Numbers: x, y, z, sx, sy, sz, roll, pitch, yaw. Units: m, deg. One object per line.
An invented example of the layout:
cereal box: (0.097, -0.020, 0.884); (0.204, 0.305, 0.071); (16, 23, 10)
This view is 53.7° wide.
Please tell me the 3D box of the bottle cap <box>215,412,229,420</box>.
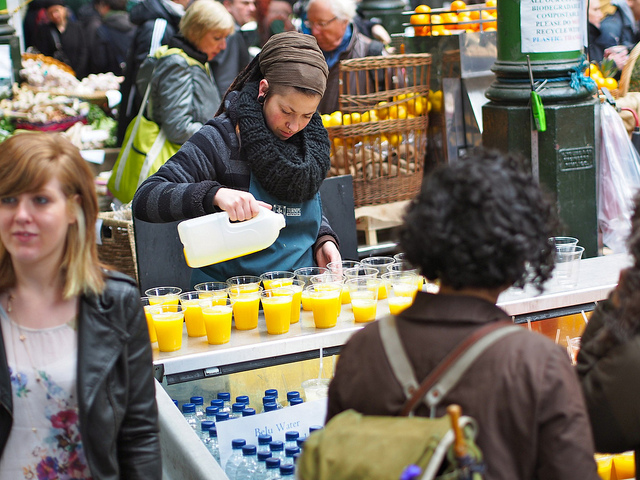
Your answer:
bottle cap: (-0.368, 0.662, 2.388); (0.028, 0.021, 0.029); (0, 5, -14)

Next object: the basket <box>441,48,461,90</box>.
basket: (0.978, -1.338, 4.774); (0.153, 0.254, 0.175); (0, 6, 13)

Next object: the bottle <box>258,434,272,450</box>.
bottle: (-0.194, 0.711, 2.223); (0.044, 0.052, 0.045); (-1, 3, -19)

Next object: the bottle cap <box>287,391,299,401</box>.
bottle cap: (-0.110, 0.621, 2.519); (0.037, 0.036, 0.030); (-2, 2, 6)

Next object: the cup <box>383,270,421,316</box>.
cup: (0.369, 0.228, 2.938); (0.200, 0.243, 0.227); (0, 0, 0)

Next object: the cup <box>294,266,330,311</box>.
cup: (-0.053, 0.222, 3.077); (0.174, 0.191, 0.183); (-1, 7, 0)

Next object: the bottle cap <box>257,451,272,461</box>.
bottle cap: (-0.188, 0.734, 2.145); (0.052, 0.033, 0.024); (-3, 9, 6)

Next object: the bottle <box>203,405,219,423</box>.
bottle: (-0.422, 0.666, 2.460); (0.059, 0.065, 0.062); (1, 1, -7)

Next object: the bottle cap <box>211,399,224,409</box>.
bottle cap: (-0.399, 0.640, 2.472); (0.030, 0.024, 0.031); (0, 8, -12)

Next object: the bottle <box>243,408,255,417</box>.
bottle: (-0.264, 0.639, 2.345); (0.027, 0.018, 0.028); (2, -7, 0)

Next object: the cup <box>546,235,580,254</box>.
cup: (1.047, 0.021, 2.722); (0.091, 0.071, 0.095); (0, 2, 0)

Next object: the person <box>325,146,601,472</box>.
person: (0.340, 0.186, 1.590); (0.611, 0.802, 0.306); (-5, 9, -8)

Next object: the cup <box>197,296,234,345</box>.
cup: (-0.421, 0.340, 2.705); (0.174, 0.194, 0.178); (-2, -6, 0)

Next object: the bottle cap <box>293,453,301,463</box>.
bottle cap: (-0.078, 0.742, 2.159); (0.024, 0.025, 0.026); (-1, 9, -3)

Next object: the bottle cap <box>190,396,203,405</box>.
bottle cap: (-0.487, 0.634, 2.510); (0.032, 0.022, 0.034); (1, 7, -3)

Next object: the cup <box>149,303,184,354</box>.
cup: (-0.622, 0.366, 2.635); (0.166, 0.194, 0.173); (-3, -6, 0)

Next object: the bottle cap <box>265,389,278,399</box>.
bottle cap: (-0.188, 0.610, 2.536); (0.037, 0.030, 0.038); (-2, 3, -23)

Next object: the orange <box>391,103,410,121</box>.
orange: (0.600, -0.958, 4.709); (0.131, 0.174, 0.140); (1, 23, 19)

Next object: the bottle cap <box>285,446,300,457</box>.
bottle cap: (-0.097, 0.723, 2.171); (0.035, 0.024, 0.037); (1, 11, 5)

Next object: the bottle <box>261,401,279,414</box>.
bottle: (-0.191, 0.644, 2.444); (0.042, 0.051, 0.045); (0, -3, 2)

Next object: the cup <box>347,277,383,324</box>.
cup: (0.184, 0.271, 2.882); (0.179, 0.202, 0.174); (-1, -2, 0)

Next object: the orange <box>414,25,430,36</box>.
orange: (0.787, -1.636, 4.958); (0.065, 0.082, 0.174); (-8, 11, -23)

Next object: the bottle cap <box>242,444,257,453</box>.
bottle cap: (-0.246, 0.723, 2.192); (0.029, 0.015, 0.030); (1, 4, -3)

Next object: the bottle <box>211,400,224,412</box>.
bottle: (-0.399, 0.647, 2.469); (0.031, 0.032, 0.032); (1, 2, -1)

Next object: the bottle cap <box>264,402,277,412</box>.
bottle cap: (-0.192, 0.644, 2.443); (0.031, 0.032, 0.033); (1, -3, 1)

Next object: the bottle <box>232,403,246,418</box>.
bottle: (-0.310, 0.643, 2.398); (0.048, 0.056, 0.048); (-4, 7, -32)

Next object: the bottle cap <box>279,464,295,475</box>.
bottle cap: (-0.107, 0.758, 2.089); (0.033, 0.022, 0.034); (0, 4, 32)

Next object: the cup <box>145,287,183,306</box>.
cup: (-0.690, 0.235, 2.808); (0.089, 0.076, 0.097); (-1, 1, 0)

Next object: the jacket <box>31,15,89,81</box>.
jacket: (-3.483, -2.619, 8.608); (0.416, 0.939, 1.291); (-11, 12, -37)

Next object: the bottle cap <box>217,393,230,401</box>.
bottle cap: (-0.389, 0.635, 2.571); (0.031, 0.024, 0.033); (2, 5, 9)

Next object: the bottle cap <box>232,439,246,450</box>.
bottle cap: (-0.290, 0.721, 2.234); (0.036, 0.030, 0.038); (0, -1, -7)

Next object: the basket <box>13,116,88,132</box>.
basket: (-2.278, -0.987, 5.424); (0.293, 0.127, 0.749); (2, 12, 30)

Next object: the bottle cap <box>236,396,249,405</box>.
bottle cap: (-0.298, 0.617, 2.452); (0.031, 0.024, 0.033); (1, 0, -5)

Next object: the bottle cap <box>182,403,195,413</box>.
bottle cap: (-0.511, 0.650, 2.465); (0.047, 0.037, 0.062); (-6, 10, -13)

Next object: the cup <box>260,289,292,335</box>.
cup: (-0.191, 0.318, 2.788); (0.159, 0.178, 0.158); (-1, 15, 0)

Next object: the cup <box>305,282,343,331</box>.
cup: (0.019, 0.276, 2.847); (0.173, 0.192, 0.190); (-3, 25, 1)

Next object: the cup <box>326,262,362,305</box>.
cup: (0.100, 0.198, 3.176); (0.179, 0.208, 0.185); (-2, 7, 0)

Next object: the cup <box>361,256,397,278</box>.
cup: (0.294, 0.123, 3.218); (0.111, 0.091, 0.118); (0, 5, 0)

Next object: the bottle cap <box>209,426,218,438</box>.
bottle cap: (-0.393, 0.713, 2.349); (0.018, 0.045, 0.045); (-12, 13, -42)

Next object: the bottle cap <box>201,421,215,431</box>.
bottle cap: (-0.420, 0.691, 2.362); (0.040, 0.025, 0.042); (0, -2, 27)

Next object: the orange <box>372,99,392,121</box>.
orange: (0.455, -0.953, 4.629); (0.125, 0.164, 0.129); (1, -17, -19)

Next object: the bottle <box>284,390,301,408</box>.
bottle: (-0.106, 0.642, 2.570); (0.067, 0.080, 0.071); (0, 7, 3)
